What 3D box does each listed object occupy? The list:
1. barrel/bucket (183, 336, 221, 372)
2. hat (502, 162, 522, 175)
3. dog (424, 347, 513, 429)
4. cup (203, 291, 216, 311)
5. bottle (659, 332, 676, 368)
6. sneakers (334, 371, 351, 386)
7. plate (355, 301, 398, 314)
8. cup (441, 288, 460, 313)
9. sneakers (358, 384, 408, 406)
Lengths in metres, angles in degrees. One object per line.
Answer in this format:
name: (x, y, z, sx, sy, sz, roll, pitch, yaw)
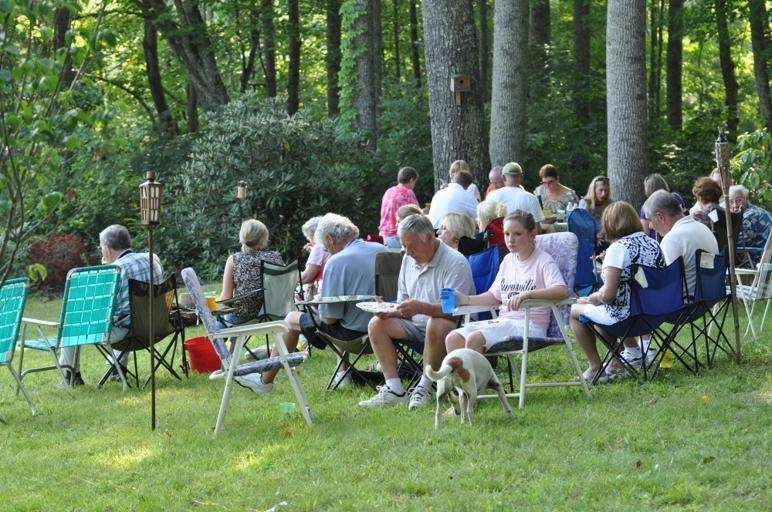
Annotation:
barrel/bucket: (-2.497, 1.344, 17.728, 0.497, 0.377, 0.467, -18, -13, -4)
hat: (1.827, -1.238, 18.955, 0.258, 0.183, 0.177, -5, 0, -3)
dog: (0.897, 1.555, 15.468, 1.034, 0.923, 0.425, -5, 0, -25)
cup: (-2.590, 0.680, 19.177, 0.234, 0.244, 0.234, -3, 5, 0)
bottle: (3.611, 1.282, 16.719, 0.253, 0.435, 0.427, 1, 3, 15)
sneakers: (-0.542, 1.599, 16.694, 0.211, 0.220, 0.141, 4, -5, 4)
plate: (-0.111, 0.644, 15.859, 0.490, 0.151, 0.490, -5, 0, -2)
cup: (0.761, 0.560, 15.819, 0.215, 0.317, 0.223, -5, 0, 0)
sneakers: (-0.036, 1.737, 16.113, 0.616, 0.274, 0.246, 1, -5, -6)
